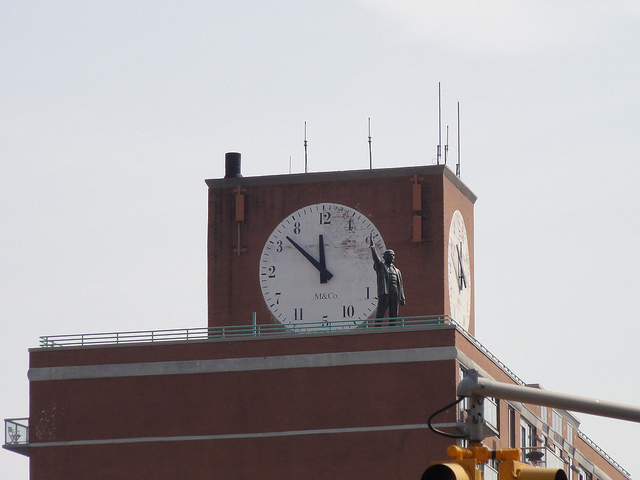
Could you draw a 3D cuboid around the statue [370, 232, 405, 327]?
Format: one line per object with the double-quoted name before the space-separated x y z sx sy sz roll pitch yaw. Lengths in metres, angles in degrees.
"statue" 2.908 2.261 96.674 1.050 4.162 1.988 -17 -32 30
